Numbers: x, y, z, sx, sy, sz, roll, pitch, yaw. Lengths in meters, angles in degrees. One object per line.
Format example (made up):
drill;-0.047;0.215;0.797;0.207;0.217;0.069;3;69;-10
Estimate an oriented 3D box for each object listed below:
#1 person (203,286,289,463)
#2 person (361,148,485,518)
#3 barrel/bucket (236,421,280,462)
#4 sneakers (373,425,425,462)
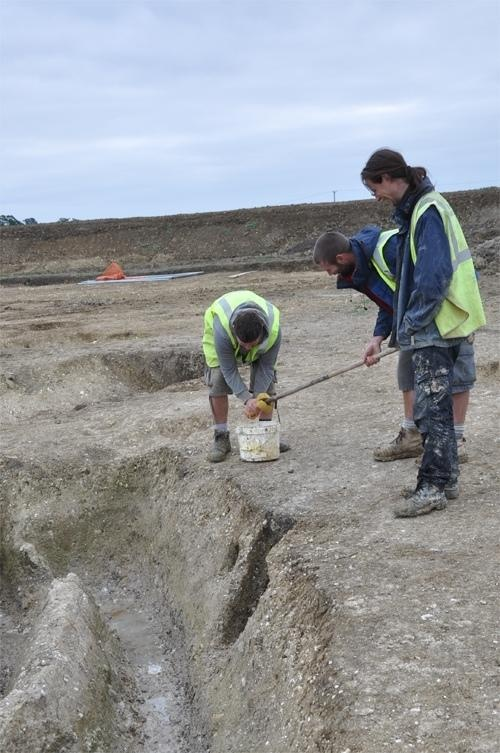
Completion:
person;-0.036;0.031;4.740;0.525;1.125;1.009;-8;9;-7
person;0.826;-0.192;3.500;0.377;1.716;0.406;-13;11;-32
barrel/bucket;0.061;0.398;4.866;0.273;0.195;0.257;-3;8;0
sneakers;0.900;0.402;4.520;0.317;0.196;0.133;-7;14;24
